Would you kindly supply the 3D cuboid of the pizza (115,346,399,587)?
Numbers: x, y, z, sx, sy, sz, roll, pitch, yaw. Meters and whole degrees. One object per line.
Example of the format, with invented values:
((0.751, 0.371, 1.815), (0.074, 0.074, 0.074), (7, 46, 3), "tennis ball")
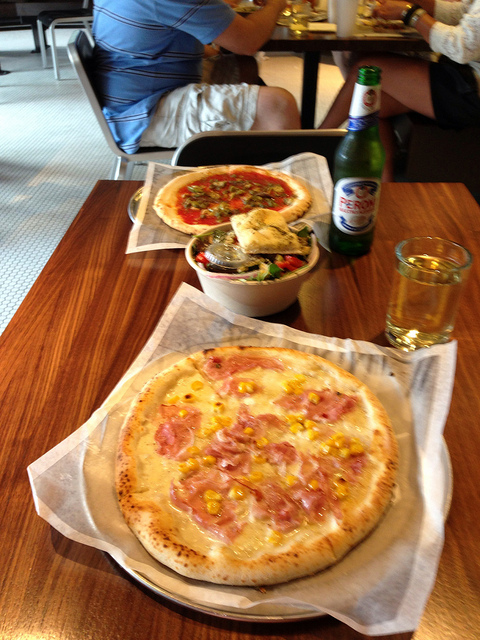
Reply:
((0.015, 0.129, 0.502), (0.261, 0.032, 0.265), (10, 44, 11), "pizza")
